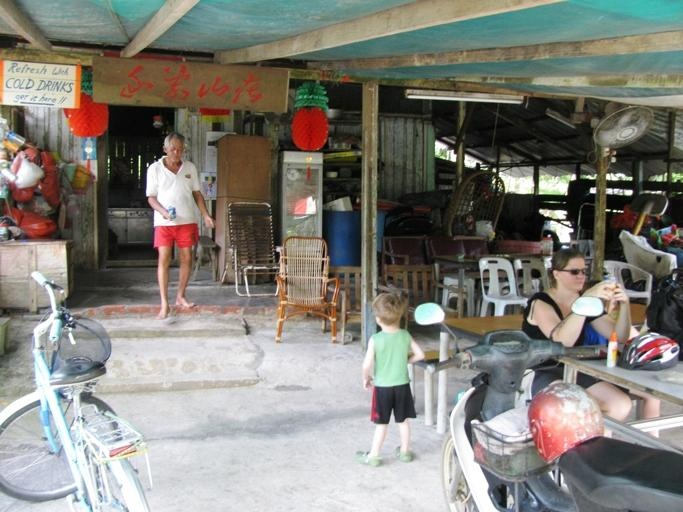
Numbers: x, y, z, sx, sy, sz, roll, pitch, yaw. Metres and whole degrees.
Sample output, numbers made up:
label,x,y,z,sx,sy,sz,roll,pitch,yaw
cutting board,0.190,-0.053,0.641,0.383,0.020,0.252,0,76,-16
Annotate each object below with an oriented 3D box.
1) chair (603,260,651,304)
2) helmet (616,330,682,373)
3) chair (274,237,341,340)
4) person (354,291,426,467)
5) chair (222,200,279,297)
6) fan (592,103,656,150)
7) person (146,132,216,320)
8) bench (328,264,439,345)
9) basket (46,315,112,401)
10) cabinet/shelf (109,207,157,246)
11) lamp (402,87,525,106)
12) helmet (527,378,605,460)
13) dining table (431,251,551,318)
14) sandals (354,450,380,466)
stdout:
label,x,y,z,sx,sy,sz,roll,pitch,yaw
chair,3.459,0.305,6.518,0.472,0.546,0.410,-2,43,19
helmet,1.742,0.540,3.069,0.323,0.116,0.198,-5,10,-26
chair,-0.413,0.390,7.145,0.846,1.298,1.186,2,11,-4
person,0.384,0.903,4.046,0.441,1.257,0.487,4,12,2
chair,-1.565,-0.184,9.229,0.983,1.439,1.507,2,11,-7
fan,3.846,-1.791,7.420,0.685,0.537,0.371,4,12,9
person,-2.112,-0.413,7.053,0.791,2.360,0.862,1,12,-8
bench,0.812,0.577,7.003,1.815,0.948,0.714,-3,-5,-23
basket,-1.478,0.544,3.093,0.347,0.273,0.495,2,4,-29
cabinet/shelf,-5.310,-0.754,14.012,1.722,0.959,0.886,-1,3,-15
lamp,1.516,-1.986,6.656,1.626,0.161,0.532,-5,12,-37
helmet,0.863,0.647,2.235,0.297,0.277,0.319,-4,29,13
dining table,2.034,0.514,7.853,1.442,0.612,1.452,5,-1,41
sandals,0.199,1.502,4.031,0.175,0.059,0.070,12,3,44
